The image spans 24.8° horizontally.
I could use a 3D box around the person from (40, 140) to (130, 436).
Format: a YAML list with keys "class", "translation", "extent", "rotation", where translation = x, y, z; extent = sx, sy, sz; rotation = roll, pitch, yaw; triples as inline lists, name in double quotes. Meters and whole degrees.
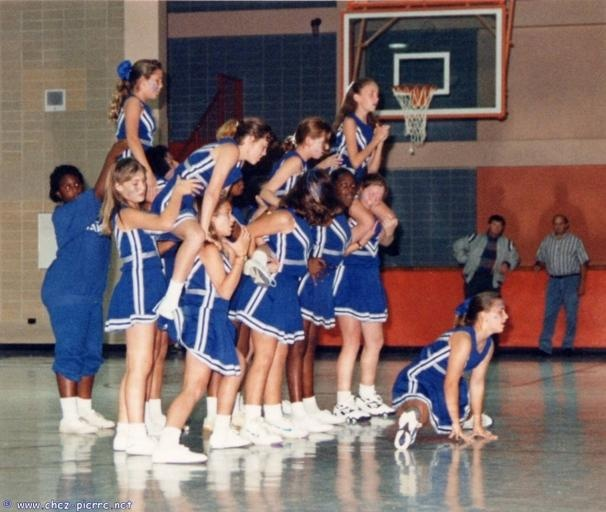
- class: "person"
  translation: [-1.898, 0.381, 11.628]
  extent: [0.605, 2.172, 0.723]
  rotation: [-2, 15, -8]

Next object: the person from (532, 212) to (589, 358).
- class: "person"
  translation: [2.986, 0.348, 15.815]
  extent: [0.576, 1.505, 0.664]
  rotation: [2, 15, 7]

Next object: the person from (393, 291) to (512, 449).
- class: "person"
  translation: [1.141, 0.933, 11.412]
  extent: [0.925, 1.186, 1.492]
  rotation: [-1, 1, 40]
